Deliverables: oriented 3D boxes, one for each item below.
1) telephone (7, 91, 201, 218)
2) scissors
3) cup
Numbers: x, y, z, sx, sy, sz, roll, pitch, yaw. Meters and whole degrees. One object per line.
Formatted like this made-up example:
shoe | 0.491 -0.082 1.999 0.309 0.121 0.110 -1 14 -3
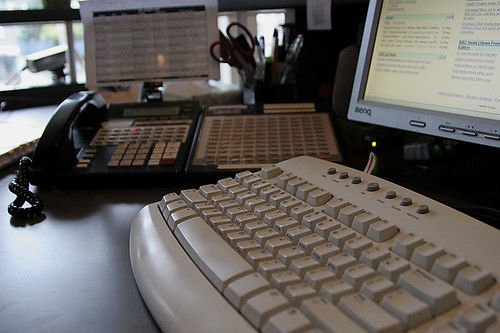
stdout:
telephone | -0.354 -0.019 0.986 0.401 0.154 0.370 -2 45 7
scissors | -0.044 -0.367 1.184 0.135 0.178 0.233 1 25 5
cup | 0.068 -0.219 1.190 0.142 0.106 0.164 -10 14 -19
